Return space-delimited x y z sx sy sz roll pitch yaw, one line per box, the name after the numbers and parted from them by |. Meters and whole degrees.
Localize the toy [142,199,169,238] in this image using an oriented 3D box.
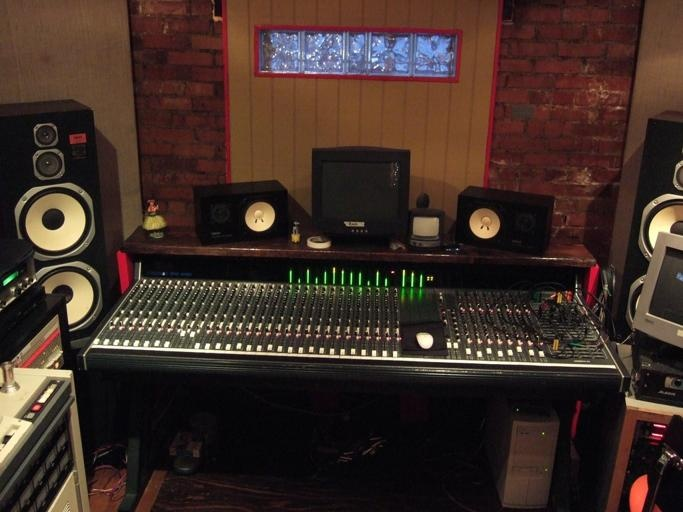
-1.077 -0.215 3.371 0.127 0.211 0.140 30 36 35 | toy

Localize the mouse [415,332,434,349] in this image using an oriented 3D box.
0.394 0.400 2.786 0.082 0.042 0.093 2 19 7 | mouse
